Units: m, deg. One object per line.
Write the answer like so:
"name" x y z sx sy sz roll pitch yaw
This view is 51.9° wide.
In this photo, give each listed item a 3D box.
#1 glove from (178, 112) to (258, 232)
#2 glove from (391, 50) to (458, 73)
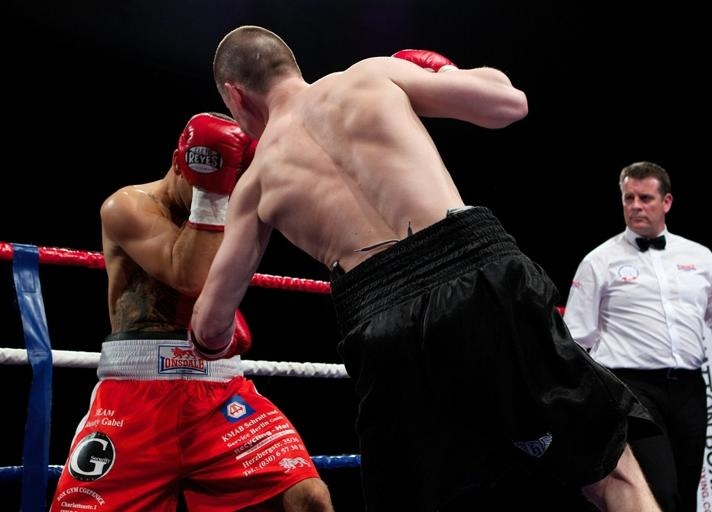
"glove" -0.567 -0.347 3.145 0.203 0.474 0.354 2 11 -38
"glove" 0.269 -0.764 2.862 0.189 0.076 0.154 5 14 14
